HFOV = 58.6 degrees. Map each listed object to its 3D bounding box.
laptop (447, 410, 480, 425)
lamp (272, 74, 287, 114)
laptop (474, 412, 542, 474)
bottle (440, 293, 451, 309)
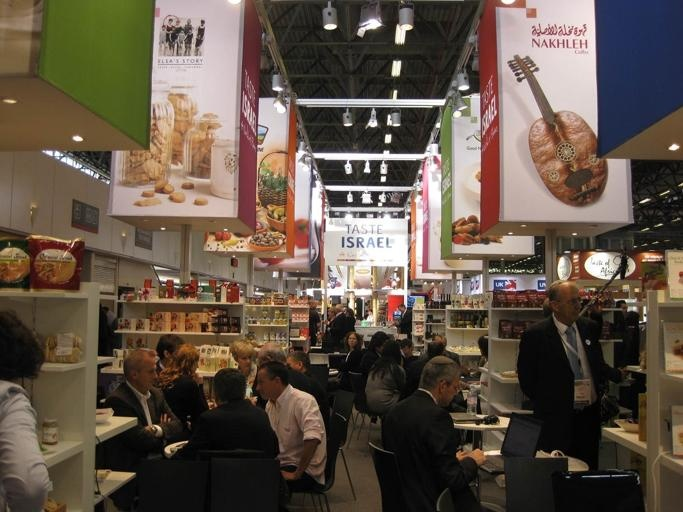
[{"bbox_3d":[1.129,1.450,5.441,0.270,0.069,0.283,0,0,-14],"label":"laptop"},{"bbox_3d":[-1.107,-2.920,10.528,0.186,0.577,0.141,0,16,14],"label":"lamp"},{"bbox_3d":[1.212,1.368,4.527,0.415,0.370,0.499,7,-8,-6],"label":"laptop"},{"bbox_3d":[2.179,0.958,12.816,0.281,0.356,0.110,1,-8,1],"label":"bottle"}]
